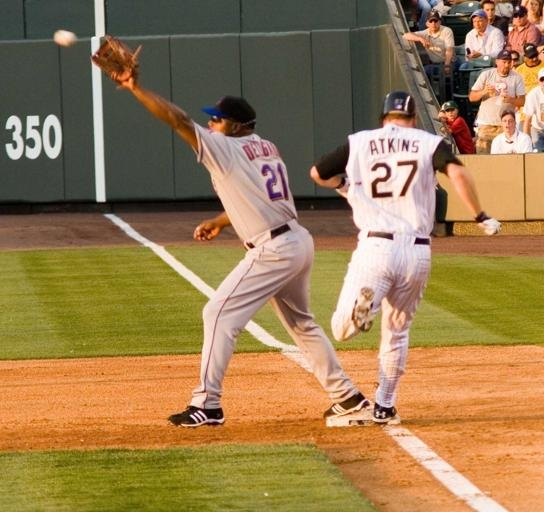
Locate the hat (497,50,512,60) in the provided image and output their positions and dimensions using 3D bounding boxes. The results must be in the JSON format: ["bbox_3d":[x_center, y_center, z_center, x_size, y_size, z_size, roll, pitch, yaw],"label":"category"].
[{"bbox_3d":[3.330,-2.889,15.521,0.197,0.152,0.390,1,4,11],"label":"hat"}]

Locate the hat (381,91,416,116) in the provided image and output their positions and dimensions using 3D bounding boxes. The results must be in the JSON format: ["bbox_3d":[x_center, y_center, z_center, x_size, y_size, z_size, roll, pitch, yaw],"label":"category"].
[{"bbox_3d":[0.815,-0.979,6.956,0.143,0.140,0.188,6,19,4],"label":"hat"}]

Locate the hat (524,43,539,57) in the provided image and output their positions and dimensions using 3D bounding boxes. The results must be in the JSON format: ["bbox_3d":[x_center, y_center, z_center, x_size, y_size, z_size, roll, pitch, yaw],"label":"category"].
[{"bbox_3d":[3.783,-3.000,15.779,0.219,0.157,0.341,-24,11,7],"label":"hat"}]

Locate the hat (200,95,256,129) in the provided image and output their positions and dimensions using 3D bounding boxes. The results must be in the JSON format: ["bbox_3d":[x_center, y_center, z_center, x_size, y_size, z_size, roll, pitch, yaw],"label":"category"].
[{"bbox_3d":[-0.281,-0.959,7.151,0.292,0.140,0.193,9,6,-4],"label":"hat"}]

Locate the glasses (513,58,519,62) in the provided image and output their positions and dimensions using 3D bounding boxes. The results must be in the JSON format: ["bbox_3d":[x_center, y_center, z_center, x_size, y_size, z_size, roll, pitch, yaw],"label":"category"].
[{"bbox_3d":[3.687,-2.983,16.333,0.027,0.079,0.081,-4,0,44],"label":"glasses"}]

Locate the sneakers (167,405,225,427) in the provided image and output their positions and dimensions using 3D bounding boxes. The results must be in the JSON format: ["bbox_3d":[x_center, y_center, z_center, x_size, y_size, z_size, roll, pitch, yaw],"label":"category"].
[{"bbox_3d":[-0.496,1.024,7.051,0.386,0.176,0.135,3,1,-8],"label":"sneakers"}]

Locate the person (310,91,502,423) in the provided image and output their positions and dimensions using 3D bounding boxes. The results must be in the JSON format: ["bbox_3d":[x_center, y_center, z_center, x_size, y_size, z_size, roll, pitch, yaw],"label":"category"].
[{"bbox_3d":[0.770,0.020,6.865,1.056,2.136,0.511,0,4,1],"label":"person"}]

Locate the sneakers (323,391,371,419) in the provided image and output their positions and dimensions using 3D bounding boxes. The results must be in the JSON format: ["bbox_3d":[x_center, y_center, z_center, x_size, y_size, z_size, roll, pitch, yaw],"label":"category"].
[{"bbox_3d":[0.489,0.974,7.152,0.349,0.139,0.126,-17,-7,11],"label":"sneakers"}]

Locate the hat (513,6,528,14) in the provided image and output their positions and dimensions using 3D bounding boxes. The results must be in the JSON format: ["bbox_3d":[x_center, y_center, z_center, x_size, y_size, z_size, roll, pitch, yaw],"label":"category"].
[{"bbox_3d":[3.858,-3.781,16.771,0.164,0.126,0.243,-8,-8,25],"label":"hat"}]

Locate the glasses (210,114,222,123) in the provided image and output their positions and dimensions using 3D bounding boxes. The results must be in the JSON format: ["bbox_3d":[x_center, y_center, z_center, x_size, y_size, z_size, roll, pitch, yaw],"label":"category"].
[{"bbox_3d":[-0.371,-0.922,7.170,0.050,0.018,0.082,10,-8,-4],"label":"glasses"}]

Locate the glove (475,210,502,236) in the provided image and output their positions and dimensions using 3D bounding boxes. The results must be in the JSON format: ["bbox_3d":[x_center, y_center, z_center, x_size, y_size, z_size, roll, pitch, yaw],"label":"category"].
[{"bbox_3d":[1.356,-0.198,6.908,0.074,0.174,0.133,-47,2,38],"label":"glove"}]

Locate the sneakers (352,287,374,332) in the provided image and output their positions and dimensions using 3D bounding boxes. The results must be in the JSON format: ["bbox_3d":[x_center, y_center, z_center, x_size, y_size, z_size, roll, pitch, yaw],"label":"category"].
[{"bbox_3d":[0.575,0.325,6.695,0.113,0.278,0.138,2,4,26],"label":"sneakers"}]
